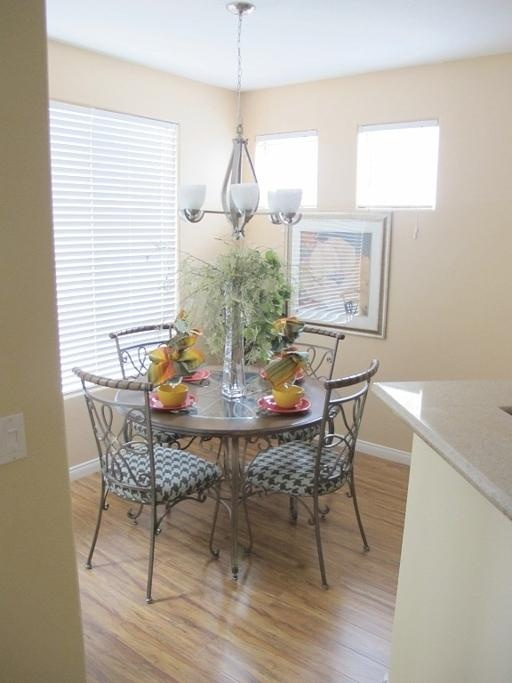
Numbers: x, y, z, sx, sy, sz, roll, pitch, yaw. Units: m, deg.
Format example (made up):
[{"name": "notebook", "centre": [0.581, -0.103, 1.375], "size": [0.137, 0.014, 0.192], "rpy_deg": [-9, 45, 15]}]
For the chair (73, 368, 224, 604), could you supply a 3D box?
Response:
[{"name": "chair", "centre": [-0.485, 0.689, 2.477], "size": [0.552, 1.039, 0.597], "rpy_deg": [17, 26, 34]}]

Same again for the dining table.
[{"name": "dining table", "centre": [-0.114, 0.650, 2.489], "size": [0.820, 0.610, 0.821], "rpy_deg": [-14, 22, -40]}]

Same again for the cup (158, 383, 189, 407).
[{"name": "cup", "centre": [-0.370, 0.233, 2.386], "size": [0.114, 0.070, 0.114], "rpy_deg": [-1, 11, 0]}]

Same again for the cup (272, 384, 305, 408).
[{"name": "cup", "centre": [0.138, 0.238, 2.381], "size": [0.116, 0.068, 0.102], "rpy_deg": [12, 15, 41]}]
